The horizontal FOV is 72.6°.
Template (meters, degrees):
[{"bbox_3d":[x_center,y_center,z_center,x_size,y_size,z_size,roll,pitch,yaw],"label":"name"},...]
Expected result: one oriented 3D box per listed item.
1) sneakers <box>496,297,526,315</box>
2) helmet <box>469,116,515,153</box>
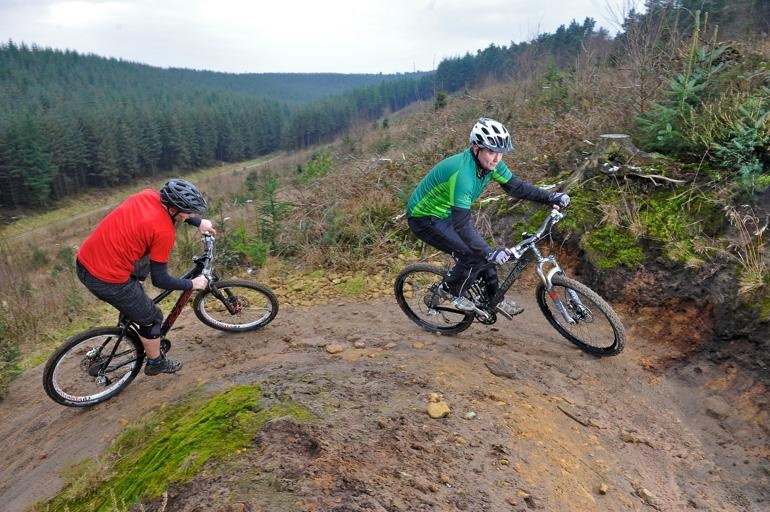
[{"bbox_3d":[2.120,0.862,8.833,0.546,0.231,0.213,14,25,0],"label":"sneakers"},{"bbox_3d":[1.586,-1.824,8.109,0.457,0.297,0.668,-16,37,-20],"label":"helmet"}]
